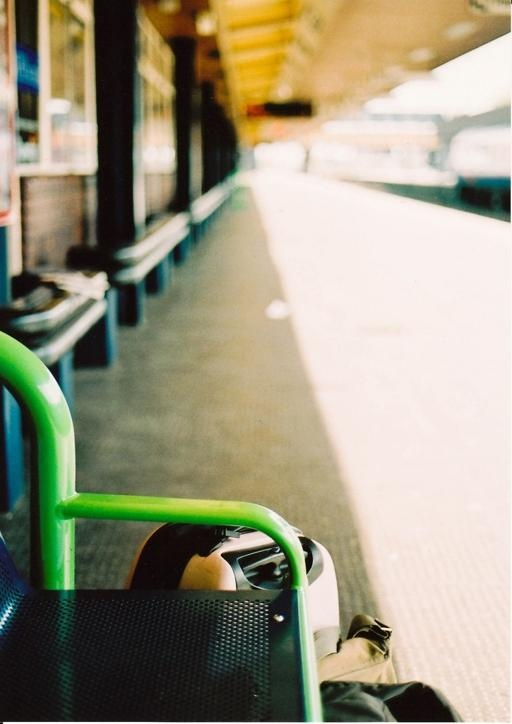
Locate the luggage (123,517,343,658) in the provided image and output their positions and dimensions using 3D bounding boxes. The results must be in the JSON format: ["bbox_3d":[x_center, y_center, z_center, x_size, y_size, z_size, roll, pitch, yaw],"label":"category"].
[{"bbox_3d":[0.018,0.420,1.166,0.284,0.247,0.198,-13,1,-28],"label":"luggage"}]

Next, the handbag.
[{"bbox_3d":[0.186,0.500,0.996,0.116,0.051,0.156,-1,40,-46],"label":"handbag"}]
